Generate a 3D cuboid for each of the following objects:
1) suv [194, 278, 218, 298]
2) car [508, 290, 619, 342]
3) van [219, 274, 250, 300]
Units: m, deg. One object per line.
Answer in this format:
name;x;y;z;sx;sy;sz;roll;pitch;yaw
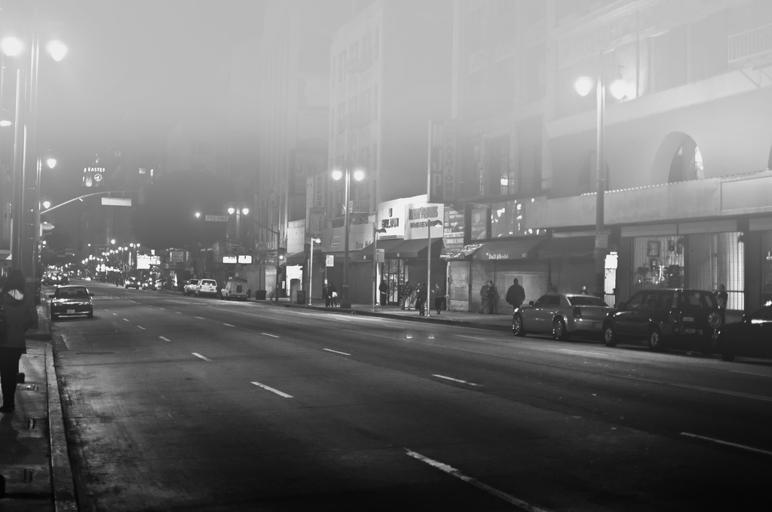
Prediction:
suv;-19.465;3.512;83.714;1.485;1.400;2.808;1;4;-16
car;6.554;2.361;29.095;4.880;1.967;2.325;-4;-2;41
van;-14.980;3.315;76.635;1.661;1.576;3.124;3;-1;-21
